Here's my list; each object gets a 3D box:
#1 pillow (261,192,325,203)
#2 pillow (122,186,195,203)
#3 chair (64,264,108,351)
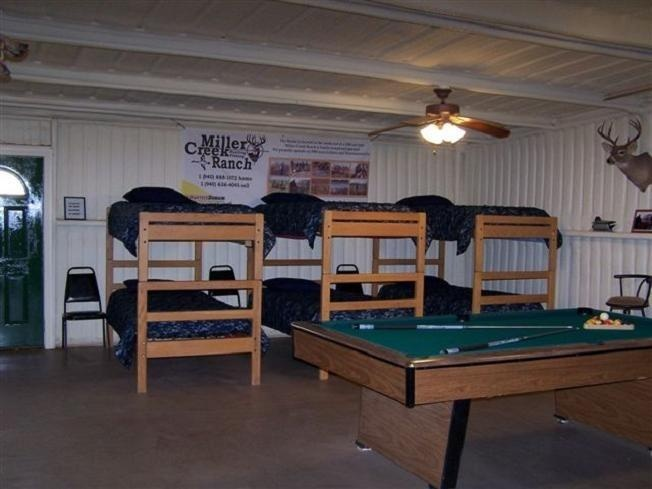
[{"bbox_3d":[-0.496,-0.717,8.157,0.691,0.183,0.845,0,3,-28],"label":"pillow"},{"bbox_3d":[-2.133,-0.633,6.819,0.872,0.214,0.607,1,3,-10],"label":"pillow"},{"bbox_3d":[-3.178,0.901,7.407,0.718,1.213,0.664,3,4,-25],"label":"chair"}]
